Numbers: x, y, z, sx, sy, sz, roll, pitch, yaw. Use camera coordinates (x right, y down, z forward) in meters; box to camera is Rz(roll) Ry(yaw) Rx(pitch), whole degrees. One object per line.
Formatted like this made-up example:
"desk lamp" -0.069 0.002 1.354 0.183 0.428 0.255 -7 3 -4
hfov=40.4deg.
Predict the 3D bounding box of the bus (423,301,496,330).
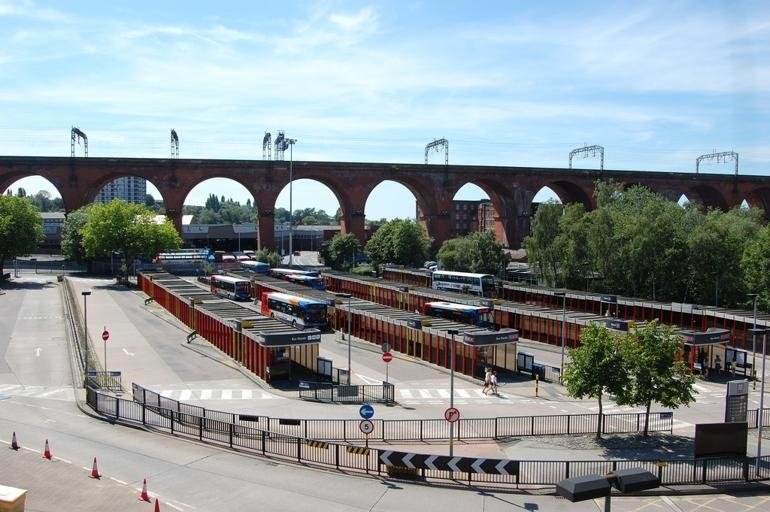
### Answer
"bus" 7.282 5.817 102.046 6.074 2.358 3.773 1 2 40

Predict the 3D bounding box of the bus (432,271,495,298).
"bus" 9.318 3.136 120.354 2.731 2.493 9.580 -4 4 -35

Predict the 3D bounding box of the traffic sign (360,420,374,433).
"traffic sign" -1.314 12.047 73.810 0.783 0.994 0.833 0 2 7
